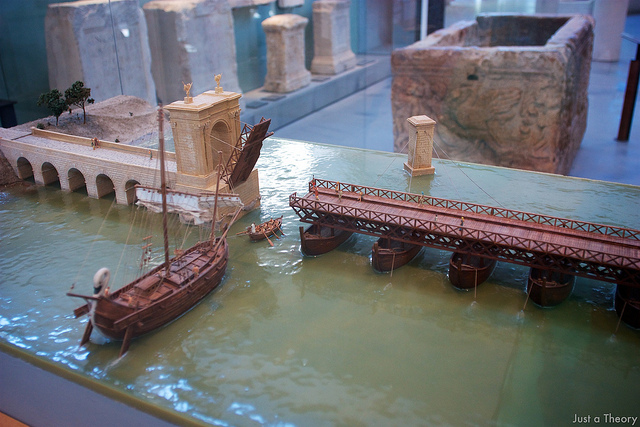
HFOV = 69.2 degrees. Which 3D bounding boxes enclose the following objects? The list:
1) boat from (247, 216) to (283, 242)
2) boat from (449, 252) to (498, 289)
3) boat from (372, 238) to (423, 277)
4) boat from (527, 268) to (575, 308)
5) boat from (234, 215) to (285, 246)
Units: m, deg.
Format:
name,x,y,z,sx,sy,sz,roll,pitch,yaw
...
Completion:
name,x,y,z,sx,sy,sz,roll,pitch,yaw
boat,-3.034,0.854,26.591,2.172,0.744,0.836,-37,61,-25
boat,7.452,2.767,23.202,2.204,1.541,1.417,-19,29,-35
boat,3.768,2.118,24.384,2.621,1.643,1.427,-21,30,-39
boat,11.095,3.586,22.476,1.284,1.266,2.689,11,30,30
boat,-3.106,0.902,26.596,1.424,0.678,2.145,24,42,29
